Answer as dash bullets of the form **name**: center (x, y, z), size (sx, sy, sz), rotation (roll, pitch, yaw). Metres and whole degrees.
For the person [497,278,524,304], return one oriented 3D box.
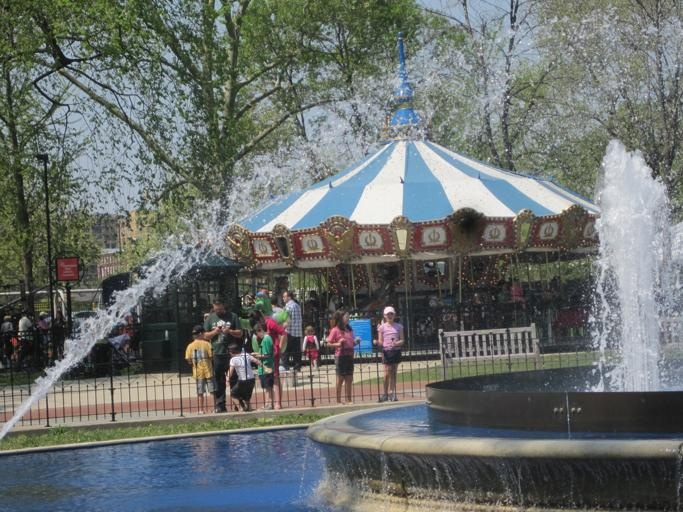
- **person**: center (4.988, 1.005, 34.128), size (0.627, 0.645, 0.911), rotation (1, -5, 3)

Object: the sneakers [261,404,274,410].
- **sneakers**: center (-1.524, 3.113, 24.231), size (0.174, 0.082, 0.094), rotation (6, -4, -9)

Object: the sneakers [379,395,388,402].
- **sneakers**: center (0.876, 2.948, 24.352), size (0.117, 0.135, 0.128), rotation (0, -10, 3)

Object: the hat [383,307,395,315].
- **hat**: center (1.008, 1.137, 24.650), size (0.190, 0.164, 0.366), rotation (-1, -5, 0)

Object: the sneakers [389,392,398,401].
- **sneakers**: center (1.089, 2.929, 24.375), size (0.153, 0.228, 0.118), rotation (0, -5, 1)

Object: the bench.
- **bench**: center (3.530, 2.150, 27.755), size (2.401, 1.028, 3.097), rotation (-2, -5, 5)

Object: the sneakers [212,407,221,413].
- **sneakers**: center (-2.598, 3.188, 24.235), size (0.106, 0.112, 0.108), rotation (-3, -16, 3)

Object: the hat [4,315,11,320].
- **hat**: center (-10.220, 1.877, 35.769), size (0.214, 0.122, 0.235), rotation (0, 0, 15)
